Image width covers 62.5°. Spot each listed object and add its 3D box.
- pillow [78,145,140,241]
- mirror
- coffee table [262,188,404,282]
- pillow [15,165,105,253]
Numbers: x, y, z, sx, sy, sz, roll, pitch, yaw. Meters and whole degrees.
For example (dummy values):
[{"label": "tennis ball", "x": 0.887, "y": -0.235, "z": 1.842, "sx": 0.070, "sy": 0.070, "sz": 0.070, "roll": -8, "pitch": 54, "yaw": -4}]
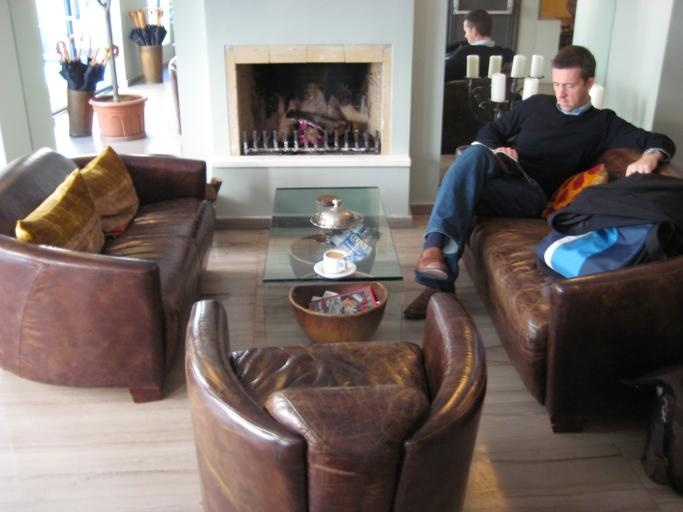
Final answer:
[{"label": "pillow", "x": -1.192, "y": -0.336, "z": 2.939, "sx": 0.180, "sy": 0.433, "sz": 0.430, "roll": -15, "pitch": 6, "yaw": 17}, {"label": "mirror", "x": 1.226, "y": -1.455, "z": 4.599, "sx": 0.935, "sy": 1.765, "sz": 0.895, "roll": 3, "pitch": 22, "yaw": 9}, {"label": "coffee table", "x": -0.094, "y": -0.110, "z": 2.937, "sx": 0.726, "sy": 0.492, "sz": 0.164, "roll": -5, "pitch": -5, "yaw": -38}, {"label": "pillow", "x": -1.265, "y": -0.203, "z": 2.508, "sx": 0.122, "sy": 0.228, "sz": 0.368, "roll": -18, "pitch": 26, "yaw": 15}]
